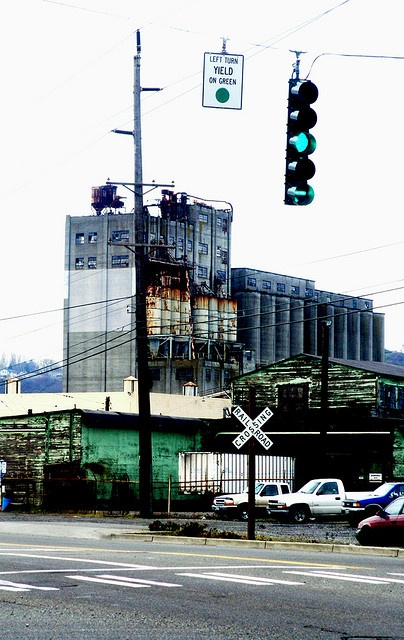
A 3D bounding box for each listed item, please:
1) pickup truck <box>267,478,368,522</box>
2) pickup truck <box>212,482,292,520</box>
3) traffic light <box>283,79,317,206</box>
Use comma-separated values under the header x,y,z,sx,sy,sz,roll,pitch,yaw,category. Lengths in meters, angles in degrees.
x,y,z,sx,sy,sz,roll,pitch,yaw,category
3.270,5.437,40.889,2.450,1.305,1.335,5,-9,-32,pickup truck
1.630,5.620,42.355,1.849,1.012,1.199,4,-8,-25,pickup truck
1.401,-2.558,18.906,0.471,1.859,0.424,-1,-5,4,traffic light
